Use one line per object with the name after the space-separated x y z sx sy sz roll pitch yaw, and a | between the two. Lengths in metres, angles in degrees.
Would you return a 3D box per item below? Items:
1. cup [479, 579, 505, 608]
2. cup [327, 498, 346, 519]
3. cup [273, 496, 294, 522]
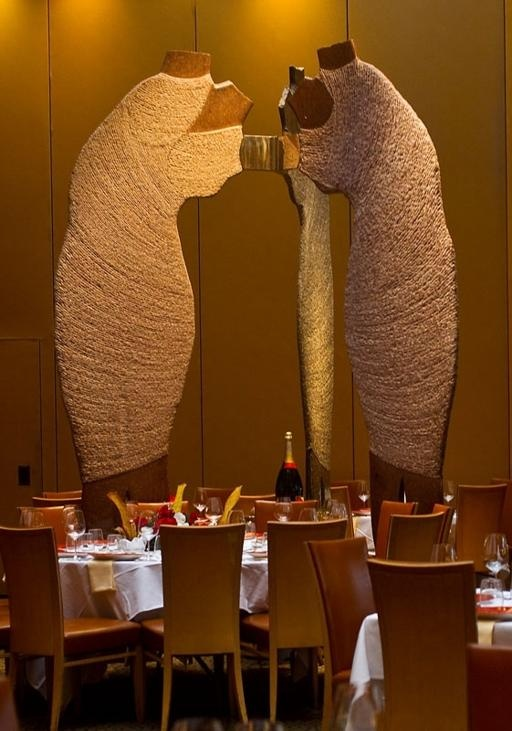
0.735 0.706 2.168 0.048 0.137 0.059 0 0 -26 | cup
0.422 0.744 3.641 0.060 0.095 0.079 0 -9 2 | cup
0.133 0.716 3.547 0.074 0.163 0.104 1 0 24 | cup
